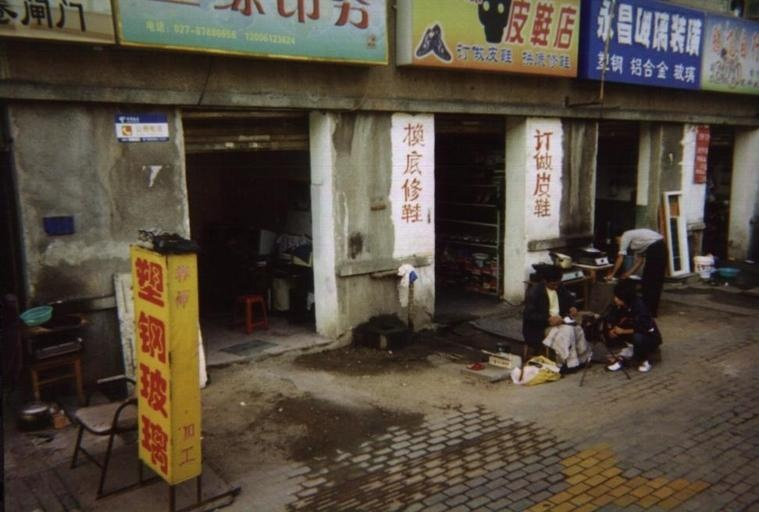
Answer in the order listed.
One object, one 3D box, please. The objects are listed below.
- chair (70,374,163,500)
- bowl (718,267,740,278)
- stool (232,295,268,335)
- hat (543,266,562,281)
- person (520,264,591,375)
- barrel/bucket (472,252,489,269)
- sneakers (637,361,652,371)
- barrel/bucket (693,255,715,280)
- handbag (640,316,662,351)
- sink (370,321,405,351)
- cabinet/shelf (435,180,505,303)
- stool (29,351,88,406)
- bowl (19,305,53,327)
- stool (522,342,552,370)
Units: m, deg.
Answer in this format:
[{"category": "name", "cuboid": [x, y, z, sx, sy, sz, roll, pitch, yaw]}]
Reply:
[{"category": "chair", "cuboid": [-3.453, 2.219, 8.137, 1.013, 1.333, 0.866, 5, 7, -44]}, {"category": "bowl", "cuboid": [9.417, 0.435, 16.601, 0.356, 0.132, 0.347, -6, 10, 1]}, {"category": "stool", "cuboid": [-2.586, 1.142, 12.699, 0.799, 0.755, 0.813, -5, 9, -40]}, {"category": "hat", "cuboid": [3.050, 0.307, 10.816, 0.270, 0.079, 0.261, 2, 18, 7]}, {"category": "person", "cuboid": [3.145, 1.068, 10.934, 1.166, 1.778, 0.767, 2, 10, 17]}, {"category": "barrel/bucket", "cuboid": [2.487, 0.107, 15.019, 0.359, 0.357, 0.313, 1, 9, 9]}, {"category": "sneakers", "cuboid": [4.686, 1.923, 10.889, 0.233, 0.153, 0.138, -4, 6, -39]}, {"category": "barrel/bucket", "cuboid": [8.926, 0.290, 16.827, 0.638, 0.563, 0.617, -2, 7, 0]}, {"category": "handbag", "cuboid": [4.829, 1.396, 10.906, 0.204, 0.664, 0.512, 9, 13, 44]}, {"category": "sink", "cuboid": [0.148, 1.542, 11.985, 0.714, 0.403, 0.549, -6, 10, -30]}, {"category": "cabinet/shelf", "cuboid": [2.321, -0.265, 15.337, 1.014, 2.739, 3.009, 0, 4, -35]}, {"category": "stool", "cuboid": [-4.925, 1.875, 9.547, 0.731, 1.005, 0.795, 2, 2, 33]}, {"category": "bowl", "cuboid": [-5.125, 0.882, 9.258, 0.358, 0.142, 0.316, -4, 25, -20]}, {"category": "stool", "cuboid": [2.809, 1.787, 11.292, 0.455, 0.616, 0.406, 1, 0, -30]}]
